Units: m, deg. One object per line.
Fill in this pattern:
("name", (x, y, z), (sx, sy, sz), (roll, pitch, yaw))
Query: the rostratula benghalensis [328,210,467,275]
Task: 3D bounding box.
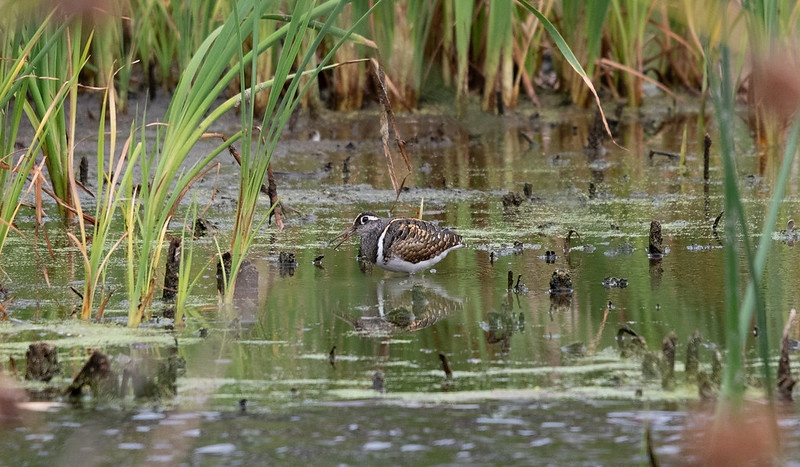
("rostratula benghalensis", (0.031, 0.060, 6.383), (0.827, 0.506, 0.385), (-7, 5, -12))
